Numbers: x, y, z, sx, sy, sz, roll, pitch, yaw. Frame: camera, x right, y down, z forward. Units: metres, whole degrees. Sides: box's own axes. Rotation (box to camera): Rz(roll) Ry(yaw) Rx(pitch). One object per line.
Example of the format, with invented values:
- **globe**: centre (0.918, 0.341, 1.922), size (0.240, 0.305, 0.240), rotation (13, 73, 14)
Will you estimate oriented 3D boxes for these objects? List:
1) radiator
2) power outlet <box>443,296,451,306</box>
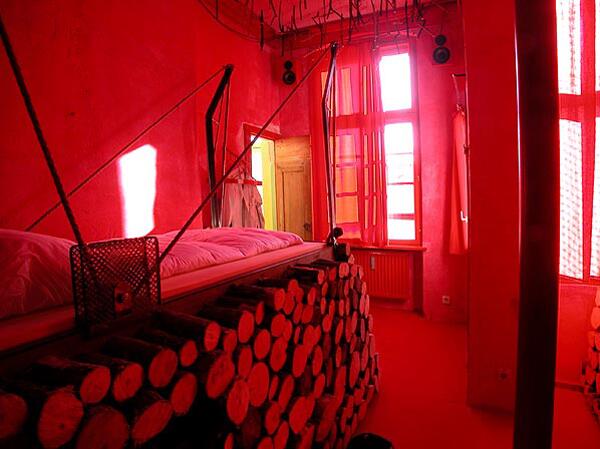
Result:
- **radiator**: centre (0.808, 0.509, 4.366), size (0.579, 0.521, 0.089), rotation (0, 3, 31)
- **power outlet**: centre (1.419, 0.728, 4.520), size (0.066, 0.085, 0.013), rotation (2, 7, 11)
